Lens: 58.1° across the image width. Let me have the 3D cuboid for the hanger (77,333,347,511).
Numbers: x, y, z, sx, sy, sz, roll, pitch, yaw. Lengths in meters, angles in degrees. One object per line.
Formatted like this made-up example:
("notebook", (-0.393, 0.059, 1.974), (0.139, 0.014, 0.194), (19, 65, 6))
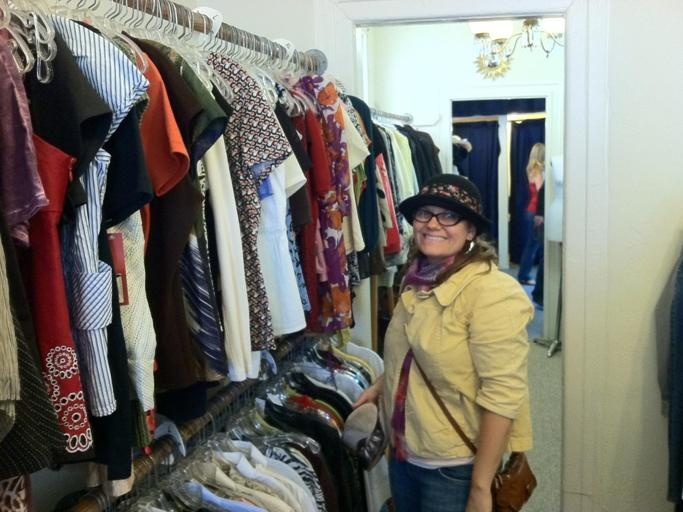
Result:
("hanger", (-0.348, 0.480, 1.888), (0.152, 0.305, 1.103), (4, 6, 26))
